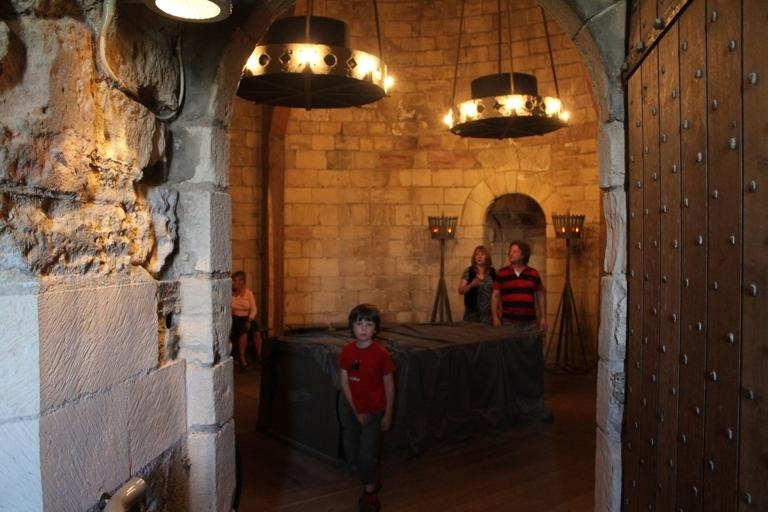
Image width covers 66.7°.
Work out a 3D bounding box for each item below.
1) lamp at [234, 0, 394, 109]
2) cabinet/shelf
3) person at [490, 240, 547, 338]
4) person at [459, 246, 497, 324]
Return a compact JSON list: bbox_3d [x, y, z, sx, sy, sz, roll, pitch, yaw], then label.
[{"bbox_3d":[-0.492,-1.448,4.093,1.024,0.579,0.909,-1,4,-14],"label":"lamp"},{"bbox_3d":[0.185,0.948,4.582,1.595,0.616,1.065,-1,2,-34],"label":"cabinet/shelf"},{"bbox_3d":[1.286,0.484,5.589,0.506,1.290,0.290,0,10,12],"label":"person"},{"bbox_3d":[0.958,0.457,5.963,0.400,1.074,0.418,5,17,9],"label":"person"}]
